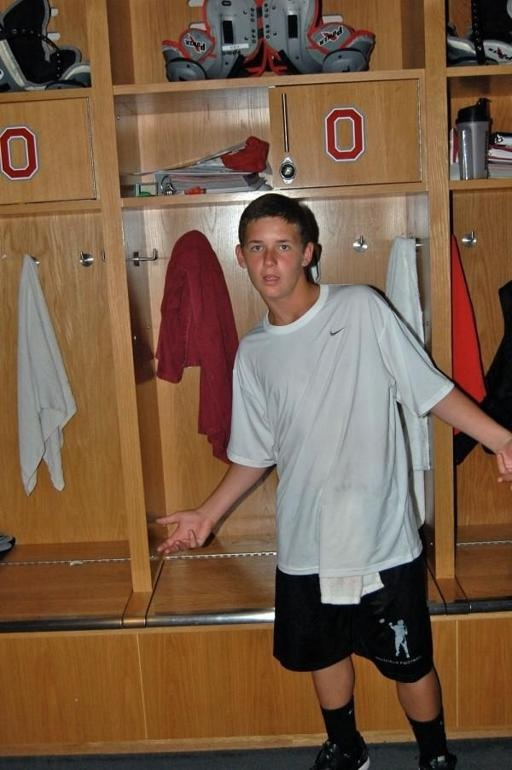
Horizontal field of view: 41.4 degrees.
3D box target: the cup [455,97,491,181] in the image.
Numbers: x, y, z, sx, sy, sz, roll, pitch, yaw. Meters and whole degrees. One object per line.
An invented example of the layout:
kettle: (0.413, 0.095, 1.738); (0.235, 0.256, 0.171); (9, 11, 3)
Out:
cup: (0.660, -0.746, 2.050); (0.094, 0.249, 0.100); (-3, 9, 0)
